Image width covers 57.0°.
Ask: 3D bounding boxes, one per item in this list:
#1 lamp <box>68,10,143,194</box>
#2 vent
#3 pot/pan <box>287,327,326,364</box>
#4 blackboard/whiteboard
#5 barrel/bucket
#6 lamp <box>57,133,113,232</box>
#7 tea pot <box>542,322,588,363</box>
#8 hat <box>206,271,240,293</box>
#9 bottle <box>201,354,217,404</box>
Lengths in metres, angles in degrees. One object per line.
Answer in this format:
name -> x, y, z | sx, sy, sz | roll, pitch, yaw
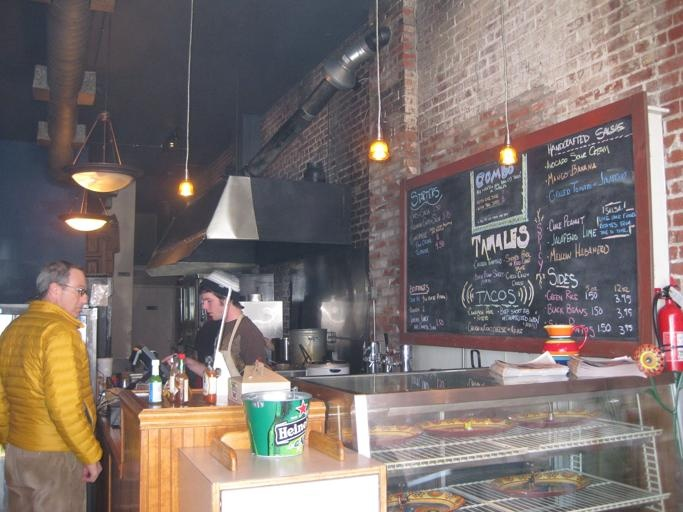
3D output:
lamp -> -1.933, -1.348, 5.093 | 0.391, 1.398, 0.403 | 13, 11, 35
vent -> -0.685, -0.127, 7.032 | 1.587, 0.776, 3.297 | 0, -2, -2
pot/pan -> -0.309, 0.765, 5.512 | 0.307, 0.366, 0.317 | 0, 0, -1
blackboard/whiteboard -> 1.091, -0.170, 3.617 | 0.067, 1.226, 1.730 | 3, -6, -26
barrel/bucket -> -0.248, 0.618, 2.374 | 0.227, 0.194, 0.244 | 0, -12, 0
lamp -> -2.651, -0.743, 6.553 | 0.518, 1.026, 0.522 | 3, -2, -36
tea pot -> 1.137, 0.432, 3.175 | 0.235, 0.246, 0.181 | 0, -5, 1
hat -> -0.815, 0.177, 4.288 | 0.208, 0.069, 0.171 | 23, -6, -20
bottle -> -0.626, 0.577, 2.967 | 0.057, 0.224, 0.339 | 2, -12, -12
